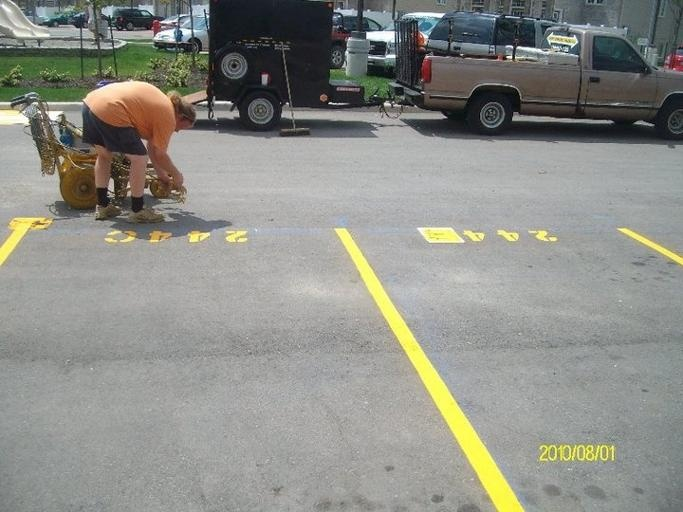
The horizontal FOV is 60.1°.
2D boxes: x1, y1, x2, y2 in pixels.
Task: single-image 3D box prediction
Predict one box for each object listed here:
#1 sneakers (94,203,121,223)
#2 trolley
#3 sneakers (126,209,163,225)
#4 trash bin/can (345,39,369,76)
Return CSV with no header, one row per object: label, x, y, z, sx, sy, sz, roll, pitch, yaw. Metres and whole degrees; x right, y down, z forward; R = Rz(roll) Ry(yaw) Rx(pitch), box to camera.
sneakers,-2.845,-0.528,7.188,0.139,0.180,0.390,13,23,28
trolley,-3.191,-1.361,7.725,1.940,1.152,1.162,1,20,-29
sneakers,-2.346,-0.468,7.077,0.396,0.194,0.151,-4,19,-20
trash bin/can,0.556,-6.587,19.676,0.742,1.173,0.736,-11,24,-23
